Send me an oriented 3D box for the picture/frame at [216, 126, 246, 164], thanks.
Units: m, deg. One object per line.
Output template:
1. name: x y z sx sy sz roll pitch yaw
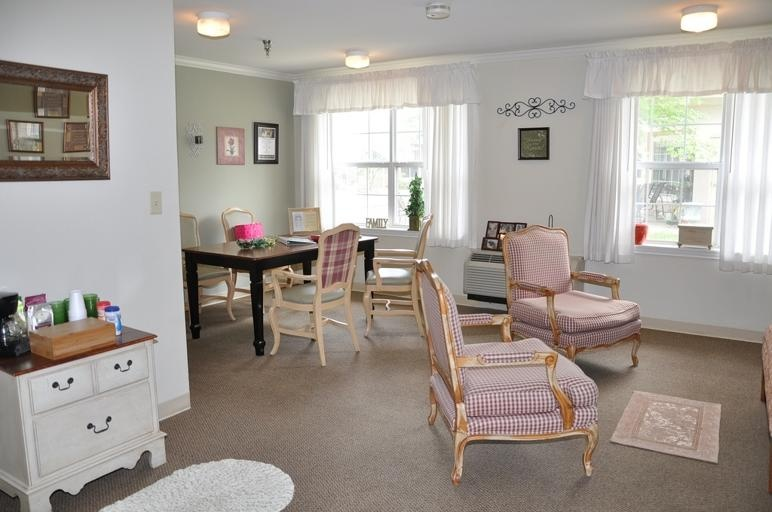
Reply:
1. picture/frame: -2.105 -1.488 6.831 0.037 0.568 0.493 8 12 38

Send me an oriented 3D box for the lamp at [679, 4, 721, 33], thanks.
1. lamp: 2.797 -2.107 4.567 0.243 0.153 0.245 -2 4 -7

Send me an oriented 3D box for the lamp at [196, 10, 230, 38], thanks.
1. lamp: -1.608 -2.165 4.799 0.218 0.117 0.217 -6 14 -31

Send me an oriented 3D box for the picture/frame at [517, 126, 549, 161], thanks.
1. picture/frame: 1.803 -1.360 6.148 0.405 0.420 0.033 2 6 30

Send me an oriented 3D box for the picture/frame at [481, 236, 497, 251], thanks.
1. picture/frame: 1.312 -0.155 6.392 0.184 0.158 0.015 1 -7 26

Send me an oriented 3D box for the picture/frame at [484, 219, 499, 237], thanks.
1. picture/frame: 1.348 -0.345 6.429 0.182 0.213 0.015 17 6 38

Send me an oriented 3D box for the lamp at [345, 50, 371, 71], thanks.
1. lamp: -0.335 -2.302 5.968 0.243 0.165 0.176 5 12 27

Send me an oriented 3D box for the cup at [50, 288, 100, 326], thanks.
1. cup: -1.951 0.343 3.296 0.166 0.278 0.286 0 1 25

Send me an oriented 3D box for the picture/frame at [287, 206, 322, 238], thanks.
1. picture/frame: -1.094 -0.447 6.886 0.594 0.519 0.042 1 -5 -25

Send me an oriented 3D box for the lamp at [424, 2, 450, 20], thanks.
1. lamp: 0.480 -2.192 4.578 0.243 0.090 0.270 0 10 1
